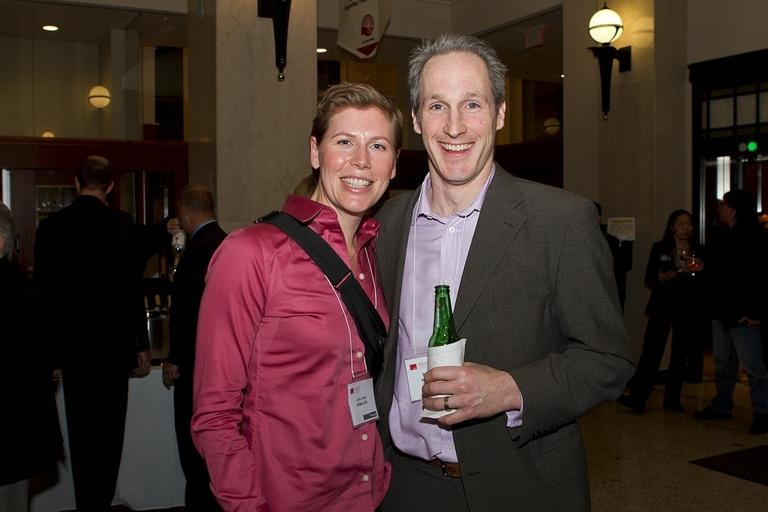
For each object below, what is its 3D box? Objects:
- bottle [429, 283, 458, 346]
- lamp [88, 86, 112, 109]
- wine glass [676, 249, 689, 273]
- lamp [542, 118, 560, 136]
[{"bbox_3d":[0.263,0.260,2.876,0.127,0.257,0.189,0,6,7],"label":"bottle"},{"bbox_3d":[-4.965,-2.766,11.342,0.586,0.418,0.206,4,8,40],"label":"lamp"},{"bbox_3d":[3.134,0.060,6.783,0.132,0.226,0.138,16,-24,-24],"label":"wine glass"},{"bbox_3d":[2.554,-1.966,9.861,0.050,0.229,0.218,1,7,-35],"label":"lamp"}]
